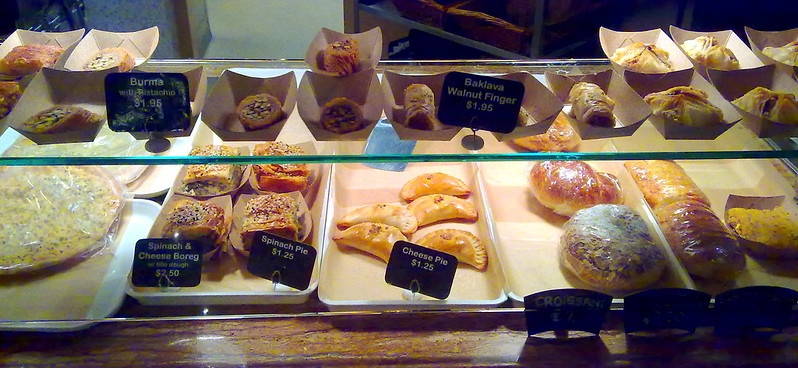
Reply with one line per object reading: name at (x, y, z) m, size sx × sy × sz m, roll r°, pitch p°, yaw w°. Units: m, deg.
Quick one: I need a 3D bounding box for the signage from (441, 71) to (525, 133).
signage at (0.458, -0.431, 2.408) m, size 0.623 × 0.332 × 0.053 m, roll -2°, pitch 8°, yaw -25°

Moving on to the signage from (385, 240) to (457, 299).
signage at (0.115, 0.482, 2.501) m, size 0.032 × 0.489 × 0.289 m, roll -15°, pitch 51°, yaw 52°
